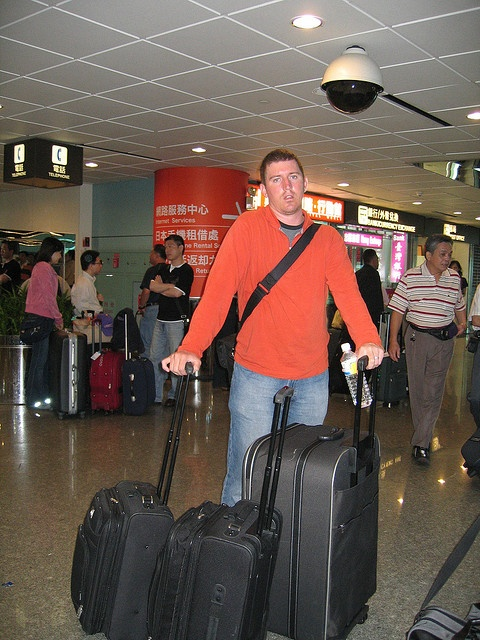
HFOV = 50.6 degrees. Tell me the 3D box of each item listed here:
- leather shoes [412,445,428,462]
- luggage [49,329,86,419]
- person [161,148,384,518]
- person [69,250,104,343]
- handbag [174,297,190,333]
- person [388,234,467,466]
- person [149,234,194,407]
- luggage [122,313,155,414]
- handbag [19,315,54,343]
[{"bbox_3d":[1.408,1.039,3.957,0.121,0.109,0.183,2,1,19],"label":"leather shoes"},{"bbox_3d":[-1.796,0.538,5.311,0.294,0.876,0.650,0,5,-30],"label":"luggage"},{"bbox_3d":[0.036,-0.040,1.743,0.678,1.432,0.547,-1,2,-42],"label":"person"},{"bbox_3d":[-1.762,-0.313,5.923,0.326,1.213,0.355,-3,13,-34],"label":"person"},{"bbox_3d":[-0.611,-0.065,5.459,0.099,0.347,0.255,-4,4,-27],"label":"handbag"},{"bbox_3d":[1.491,0.202,4.088,0.587,1.544,0.493,2,1,20],"label":"person"},{"bbox_3d":[-0.702,-0.165,5.620,0.530,2.350,0.587,-1,13,-28],"label":"person"},{"bbox_3d":[-1.061,0.447,5.337,0.307,1.085,0.430,2,0,5],"label":"luggage"},{"bbox_3d":[-2.141,0.096,5.364,0.322,0.312,0.237,1,1,-19],"label":"handbag"}]
